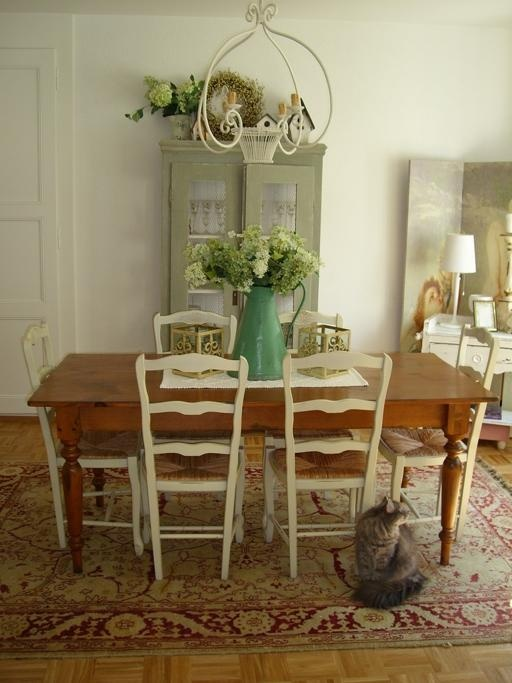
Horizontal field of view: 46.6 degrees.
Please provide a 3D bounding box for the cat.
[{"bbox_3d":[0.482,0.729,2.090,0.253,0.385,0.186,3,9,12],"label":"cat"}]

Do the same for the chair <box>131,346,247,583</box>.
[{"bbox_3d":[-0.231,0.451,2.256,0.442,0.900,0.643,0,9,-7],"label":"chair"}]

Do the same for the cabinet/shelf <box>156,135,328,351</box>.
[{"bbox_3d":[-0.137,-0.801,4.231,0.984,0.231,1.730,-2,-26,-6],"label":"cabinet/shelf"}]

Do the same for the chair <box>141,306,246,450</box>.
[{"bbox_3d":[-0.325,0.080,3.193,0.539,0.371,0.292,2,17,-6],"label":"chair"}]

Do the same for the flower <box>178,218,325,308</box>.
[{"bbox_3d":[0.054,-0.333,2.477,0.610,0.349,0.468,13,10,42],"label":"flower"}]

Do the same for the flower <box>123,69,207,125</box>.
[{"bbox_3d":[-0.593,-1.554,3.876,0.347,0.230,0.370,-14,26,-31],"label":"flower"}]

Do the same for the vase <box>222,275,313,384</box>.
[{"bbox_3d":[0.044,-0.059,2.481,0.309,0.406,0.239,1,8,-9],"label":"vase"}]
